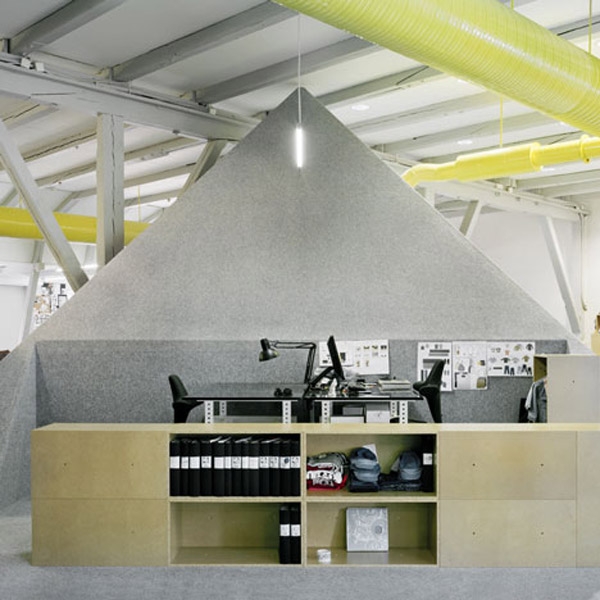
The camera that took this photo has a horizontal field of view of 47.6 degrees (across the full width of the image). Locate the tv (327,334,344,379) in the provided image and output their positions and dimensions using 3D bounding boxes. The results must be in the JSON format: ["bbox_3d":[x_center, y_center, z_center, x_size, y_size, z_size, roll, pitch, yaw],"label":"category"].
[{"bbox_3d":[0.294,0.492,5.814,0.084,0.400,0.422,-17,-3,1],"label":"tv"}]

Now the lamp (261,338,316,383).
[{"bbox_3d":[-0.134,0.563,5.726,0.530,0.440,0.173,7,-7,-26],"label":"lamp"}]
